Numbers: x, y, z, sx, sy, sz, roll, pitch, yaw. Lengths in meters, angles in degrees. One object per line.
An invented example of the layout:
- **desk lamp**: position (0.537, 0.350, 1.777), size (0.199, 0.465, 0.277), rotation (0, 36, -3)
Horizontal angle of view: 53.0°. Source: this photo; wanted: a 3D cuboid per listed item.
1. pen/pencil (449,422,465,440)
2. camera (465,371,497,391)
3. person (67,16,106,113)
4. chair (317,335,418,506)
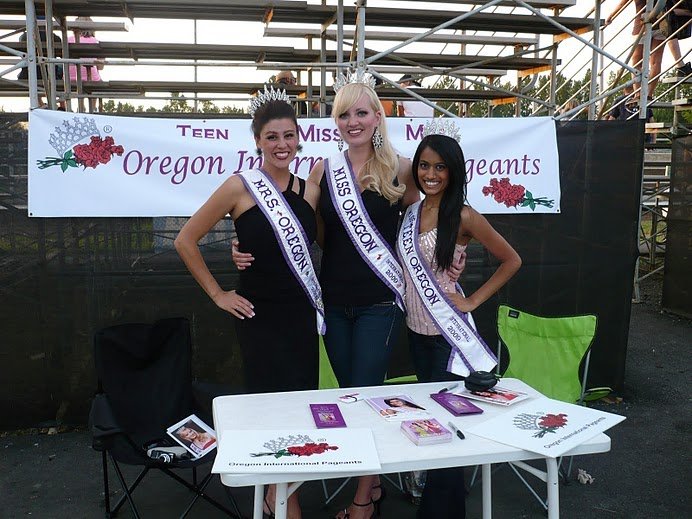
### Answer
- **pen/pencil**: position (0.486, 0.751, 3.039), size (0.022, 0.024, 0.129), rotation (-6, 15, -10)
- **camera**: position (0.643, 0.590, 3.342), size (0.083, 0.052, 0.115), rotation (-1, 3, 30)
- **person**: position (-2.704, -2.008, 7.184), size (0.330, 0.922, 2.352), rotation (-5, 10, -19)
- **chair**: position (0.152, 0.903, 4.384), size (0.759, 1.182, 0.710), rotation (-2, 8, -2)
